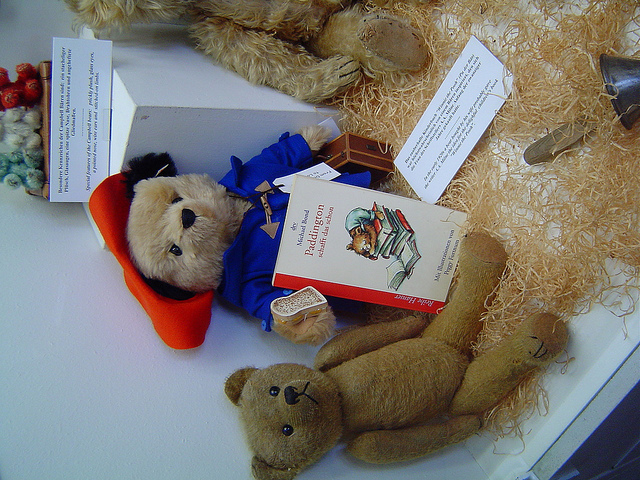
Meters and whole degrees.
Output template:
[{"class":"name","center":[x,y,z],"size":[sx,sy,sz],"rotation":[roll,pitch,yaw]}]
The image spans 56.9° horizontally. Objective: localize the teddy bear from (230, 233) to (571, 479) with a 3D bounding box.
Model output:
[{"class":"teddy bear","center":[0.162,0.346,1.548],"size":[0.873,0.362,0.433],"rotation":[-15,70,-7]}]
